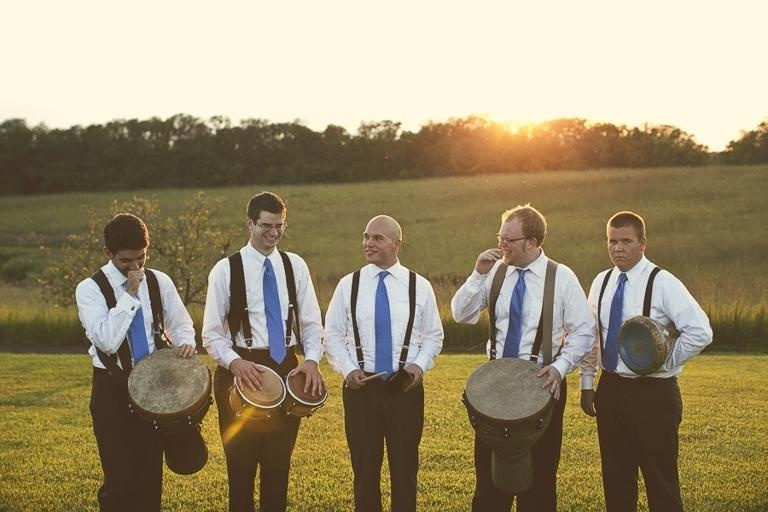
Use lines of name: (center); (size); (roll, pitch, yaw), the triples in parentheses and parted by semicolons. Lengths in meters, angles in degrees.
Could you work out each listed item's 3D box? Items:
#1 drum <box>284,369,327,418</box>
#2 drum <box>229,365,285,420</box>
drum: (-1.919, 3.177, 27.673); (0.975, 0.980, 0.671); (-11, -26, -37)
drum: (-2.905, 3.127, 27.591); (1.123, 0.774, 1.082); (11, 47, -12)
